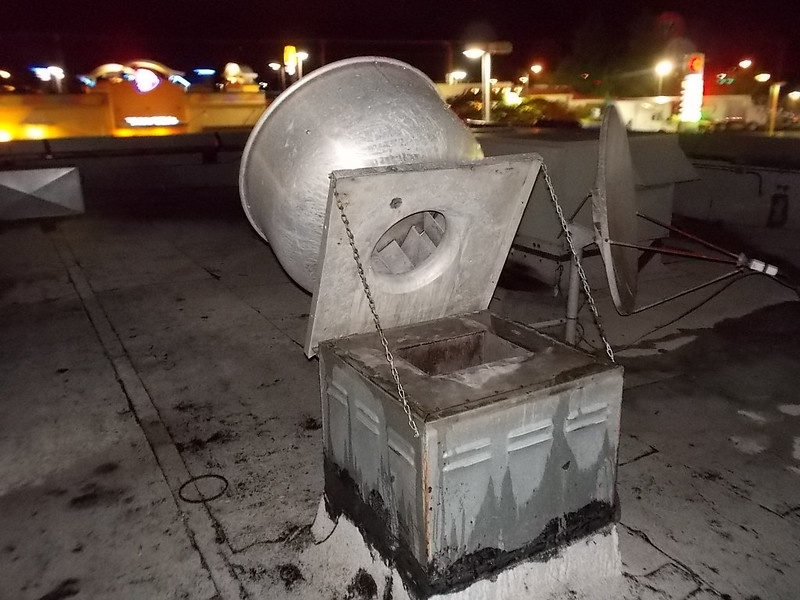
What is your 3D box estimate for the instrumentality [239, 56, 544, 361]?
[{"bbox_3d":[0.046,-0.858,5.320,2.374,2.383,2.778,15,-18,-9],"label":"instrumentality"}]
